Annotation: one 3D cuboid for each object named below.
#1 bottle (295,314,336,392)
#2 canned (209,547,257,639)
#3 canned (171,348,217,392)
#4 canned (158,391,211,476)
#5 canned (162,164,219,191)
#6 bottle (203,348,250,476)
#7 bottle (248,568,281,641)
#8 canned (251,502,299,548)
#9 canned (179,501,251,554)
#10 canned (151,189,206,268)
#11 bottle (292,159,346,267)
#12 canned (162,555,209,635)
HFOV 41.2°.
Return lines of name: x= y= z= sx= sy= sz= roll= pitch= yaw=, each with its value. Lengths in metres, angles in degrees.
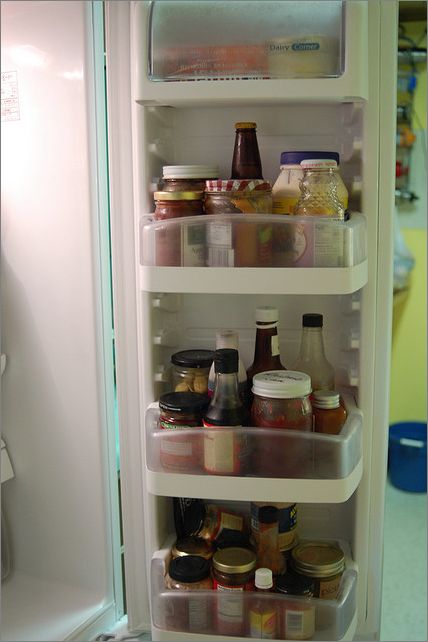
bottle: x=0.163 y=0.045 z=0.908 sx=0.056 sy=0.118 sz=0.096 roll=1 pitch=10 yaw=22
canned: x=0.026 y=0.384 z=0.810 sx=0.084 sy=0.138 sz=0.084 roll=0 pitch=-8 yaw=-1
canned: x=-0.034 y=0.075 z=0.929 sx=0.066 sy=0.070 sz=0.065 roll=-2 pitch=6 yaw=-16
canned: x=-0.046 y=0.157 z=0.815 sx=0.088 sy=0.098 sz=0.090 roll=1 pitch=3 yaw=41
canned: x=-0.046 y=-0.206 z=0.827 sx=0.050 sy=0.032 sz=0.051 roll=7 pitch=14 yaw=28
bottle: x=0.013 y=0.124 z=0.820 sx=0.063 sy=0.170 sz=0.101 roll=-2 pitch=9 yaw=2
bottle: x=0.069 y=0.396 z=0.806 sx=0.041 sy=0.086 sz=0.054 roll=-2 pitch=9 yaw=4
canned: x=0.104 y=0.306 z=0.909 sx=0.073 sy=0.070 sz=0.075 roll=0 pitch=2 yaw=29
canned: x=-0.003 y=0.345 z=0.954 sx=0.142 sy=0.083 sz=0.082 roll=14 pitch=-30 yaw=-10
canned: x=-0.049 y=-0.132 z=0.807 sx=0.073 sy=0.105 sz=0.083 roll=-3 pitch=9 yaw=-2
bottle: x=0.148 y=-0.154 z=0.799 sx=0.069 sy=0.146 sz=0.121 roll=-1 pitch=9 yaw=12
canned: x=-0.038 y=0.392 z=0.822 sx=0.074 sy=0.107 sz=0.074 roll=0 pitch=-6 yaw=-4
